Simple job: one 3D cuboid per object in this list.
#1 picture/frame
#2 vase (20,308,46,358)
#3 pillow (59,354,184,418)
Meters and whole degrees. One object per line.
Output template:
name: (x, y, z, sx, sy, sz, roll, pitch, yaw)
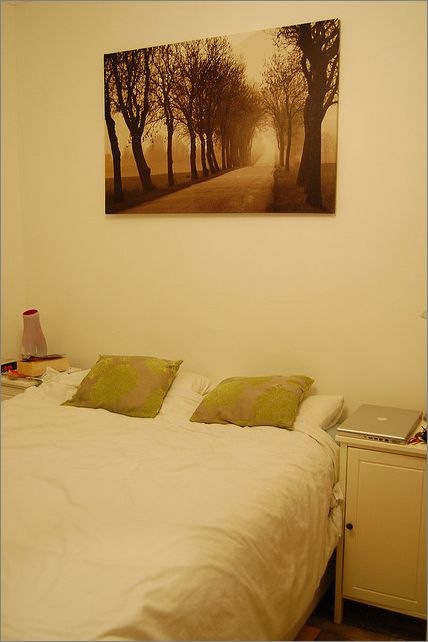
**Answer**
picture/frame: (0.081, -1.035, 2.450, 0.904, 0.700, 0.013, 8, 13, 33)
vase: (-1.057, 0.085, 2.891, 0.125, 0.260, 0.099, -3, 3, -13)
pillow: (-0.426, 0.307, 2.310, 0.277, 0.116, 0.348, 3, 28, 18)
